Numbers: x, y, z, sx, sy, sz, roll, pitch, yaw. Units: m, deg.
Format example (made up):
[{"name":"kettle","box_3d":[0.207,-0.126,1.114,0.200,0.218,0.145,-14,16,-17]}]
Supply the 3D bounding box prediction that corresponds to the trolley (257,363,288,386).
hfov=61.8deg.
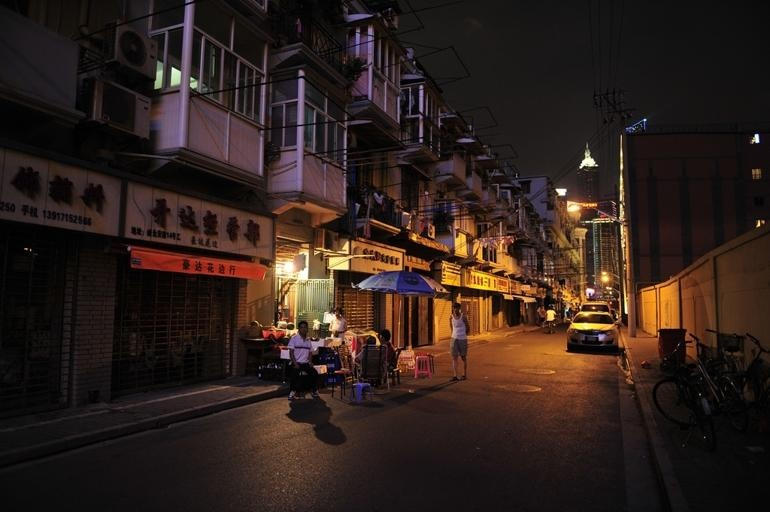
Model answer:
[{"name":"trolley","box_3d":[-3.160,3.311,18.097,0.887,0.402,0.668,-4,-12,24]}]

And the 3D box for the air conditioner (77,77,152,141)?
[{"name":"air conditioner","box_3d":[-6.390,-3.514,15.323,1.530,1.127,0.452,6,-12,-42]}]

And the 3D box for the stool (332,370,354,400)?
[{"name":"stool","box_3d":[-1.172,3.467,17.512,0.660,1.014,0.663,-1,-1,13]}]

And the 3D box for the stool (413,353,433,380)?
[{"name":"stool","box_3d":[1.175,3.445,20.007,0.602,0.742,0.592,1,-5,-27]}]

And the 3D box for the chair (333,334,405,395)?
[{"name":"chair","box_3d":[-0.431,3.337,18.123,2.653,2.073,1.202,-2,-4,29]}]

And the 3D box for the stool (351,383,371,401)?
[{"name":"stool","box_3d":[-0.587,3.412,16.186,0.430,0.385,0.430,-1,-4,-11]}]

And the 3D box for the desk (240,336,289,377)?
[{"name":"desk","box_3d":[-3.321,2.975,18.835,1.470,1.428,1.114,-7,-13,30]}]
